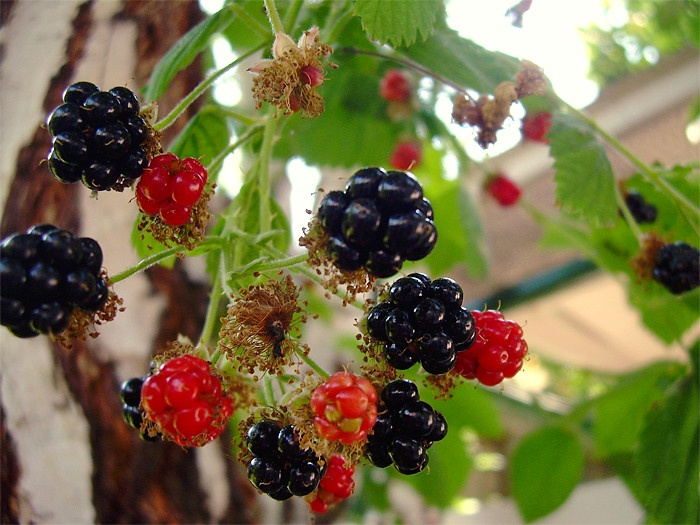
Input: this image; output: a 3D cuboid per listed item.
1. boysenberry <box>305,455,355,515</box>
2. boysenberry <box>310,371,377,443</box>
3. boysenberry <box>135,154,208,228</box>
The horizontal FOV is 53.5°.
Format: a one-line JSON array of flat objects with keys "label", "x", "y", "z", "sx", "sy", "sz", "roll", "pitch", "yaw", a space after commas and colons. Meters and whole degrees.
[{"label": "boysenberry", "x": -0.033, "y": 0.426, "z": 1.330, "sx": 0.059, "sy": 0.110, "sz": 0.087, "roll": 31, "pitch": 3, "yaw": -2}, {"label": "boysenberry", "x": -0.013, "y": 0.239, "z": 1.229, "sx": 0.094, "sy": 0.134, "sz": 0.071, "roll": -4, "pitch": -2, "yaw": 5}, {"label": "boysenberry", "x": -0.341, "y": -0.140, "z": 1.318, "sx": 0.119, "sy": 0.101, "sz": 0.137, "roll": 16, "pitch": 37, "yaw": -9}]
